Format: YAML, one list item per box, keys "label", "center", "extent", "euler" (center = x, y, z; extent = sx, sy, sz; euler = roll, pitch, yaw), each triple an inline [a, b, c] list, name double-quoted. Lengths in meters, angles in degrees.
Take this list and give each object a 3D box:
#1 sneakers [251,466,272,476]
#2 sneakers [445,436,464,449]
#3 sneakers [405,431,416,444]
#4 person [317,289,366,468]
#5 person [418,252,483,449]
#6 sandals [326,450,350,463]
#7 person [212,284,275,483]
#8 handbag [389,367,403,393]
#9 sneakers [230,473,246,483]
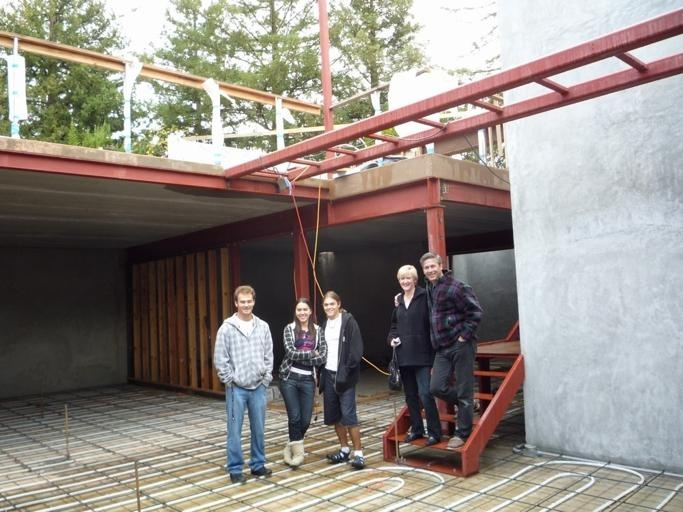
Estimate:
- label: "sneakers"
  center: [-0.745, 2.036, 5.377]
  extent: [0.199, 0.087, 0.081]
  euler: [-3, 0, 10]
- label: "sneakers"
  center: [1.069, 1.724, 5.239]
  extent: [0.166, 0.119, 0.104]
  euler: [-3, -1, 12]
- label: "sneakers"
  center: [0.676, 1.769, 5.529]
  extent: [0.050, 0.059, 0.140]
  euler: [-8, -15, 26]
- label: "person"
  center: [0.008, 1.203, 5.640]
  extent: [0.455, 1.703, 0.533]
  euler: [-3, 0, -12]
- label: "person"
  center: [1.072, 0.848, 5.378]
  extent: [0.512, 1.835, 0.281]
  euler: [-3, 0, 10]
- label: "sandals"
  center: [-0.032, 2.006, 5.686]
  extent: [0.195, 0.092, 0.111]
  euler: [1, -8, -5]
- label: "person"
  center: [-0.893, 1.183, 5.308]
  extent: [0.511, 1.777, 0.330]
  euler: [-3, 0, -7]
- label: "handbag"
  center: [0.531, 1.195, 5.544]
  extent: [0.118, 0.242, 0.248]
  euler: [-3, -1, 6]
- label: "sneakers"
  center: [-0.956, 2.039, 5.236]
  extent: [0.074, 0.055, 0.136]
  euler: [3, -9, -27]
